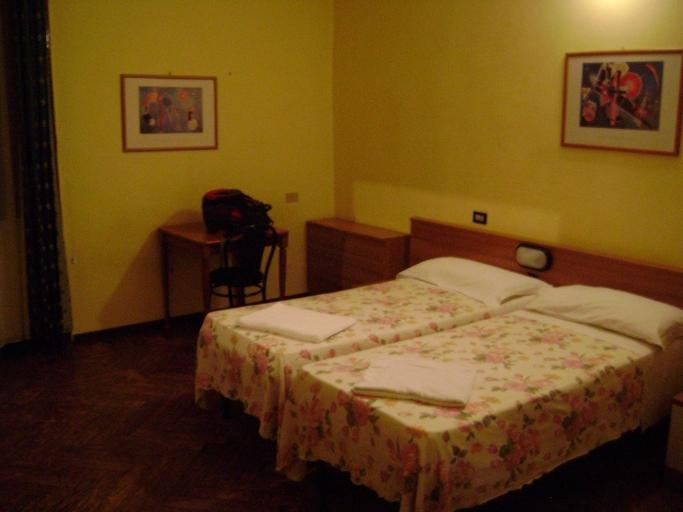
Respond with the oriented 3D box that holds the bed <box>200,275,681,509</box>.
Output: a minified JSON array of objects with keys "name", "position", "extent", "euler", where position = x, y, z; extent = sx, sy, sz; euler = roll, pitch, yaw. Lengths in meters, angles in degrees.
[{"name":"bed","position":[0.466,0.808,3.440],"extent":[2.048,0.725,2.169],"euler":[-11,19,-37]}]

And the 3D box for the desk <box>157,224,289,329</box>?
[{"name":"desk","position":[-1.104,-0.109,5.142],"extent":[1.217,1.192,0.917],"euler":[-8,15,-36]}]

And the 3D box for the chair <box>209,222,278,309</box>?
[{"name":"chair","position":[-0.942,0.074,4.947],"extent":[0.485,0.993,0.629],"euler":[-10,30,-27]}]

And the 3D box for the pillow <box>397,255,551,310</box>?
[{"name":"pillow","position":[0.997,0.181,4.175],"extent":[0.433,0.128,0.681],"euler":[-20,20,-32]}]

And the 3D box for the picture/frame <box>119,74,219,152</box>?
[{"name":"picture/frame","position":[-1.639,-1.340,4.932],"extent":[0.736,0.586,0.030],"euler":[-6,14,-29]}]

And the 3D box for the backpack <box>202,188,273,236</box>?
[{"name":"backpack","position":[-0.988,-0.401,4.848],"extent":[0.529,0.248,0.415],"euler":[8,19,11]}]
